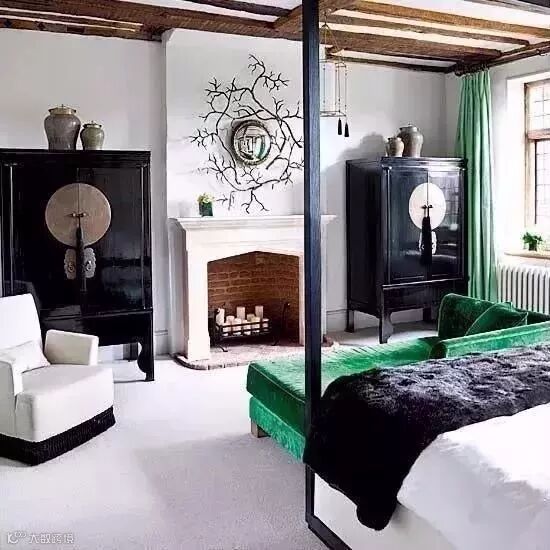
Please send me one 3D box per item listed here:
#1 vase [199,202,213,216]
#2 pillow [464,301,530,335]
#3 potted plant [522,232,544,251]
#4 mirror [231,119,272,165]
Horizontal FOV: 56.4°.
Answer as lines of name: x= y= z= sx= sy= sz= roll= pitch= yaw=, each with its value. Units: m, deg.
vase: x=-0.633 y=-0.604 z=4.744 sx=0.137 sy=0.150 sz=0.106 roll=1 pitch=10 yaw=0
pillow: x=1.335 y=0.264 z=3.038 sx=0.237 sy=0.080 sz=0.236 roll=-18 pitch=-1 yaw=11
potted plant: x=2.692 y=-0.352 z=5.371 sx=0.170 sy=0.195 sz=0.182 roll=2 pitch=3 yaw=13
mirror: x=-0.246 y=-1.300 z=5.017 sx=0.402 sy=0.469 sz=0.072 roll=-4 pitch=7 yaw=-26
